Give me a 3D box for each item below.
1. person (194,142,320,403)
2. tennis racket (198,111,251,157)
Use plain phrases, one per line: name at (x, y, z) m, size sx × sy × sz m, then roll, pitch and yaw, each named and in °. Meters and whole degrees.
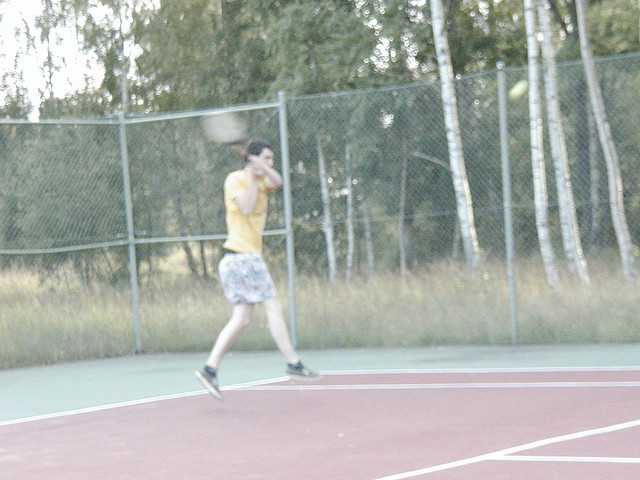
person at (-0.709, 0.328, 8.289) m, size 1.154 × 2.582 × 0.471 m, roll -6°, pitch 6°, yaw -28°
tennis racket at (-1.071, -1.151, 9.079) m, size 0.685 × 0.217 × 0.857 m, roll 6°, pitch -15°, yaw -2°
